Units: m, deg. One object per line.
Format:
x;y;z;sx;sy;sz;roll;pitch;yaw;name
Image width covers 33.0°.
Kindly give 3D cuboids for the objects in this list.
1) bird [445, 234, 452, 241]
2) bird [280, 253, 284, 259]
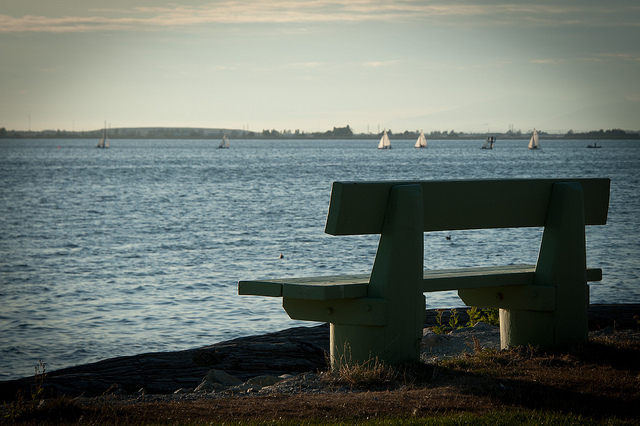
4.316;0.836;36.414;0.088;0.131;0.206;4;2;38;bird
-1.172;1.294;32.122;0.103;0.111;0.185;-1;-8;-5;bird
